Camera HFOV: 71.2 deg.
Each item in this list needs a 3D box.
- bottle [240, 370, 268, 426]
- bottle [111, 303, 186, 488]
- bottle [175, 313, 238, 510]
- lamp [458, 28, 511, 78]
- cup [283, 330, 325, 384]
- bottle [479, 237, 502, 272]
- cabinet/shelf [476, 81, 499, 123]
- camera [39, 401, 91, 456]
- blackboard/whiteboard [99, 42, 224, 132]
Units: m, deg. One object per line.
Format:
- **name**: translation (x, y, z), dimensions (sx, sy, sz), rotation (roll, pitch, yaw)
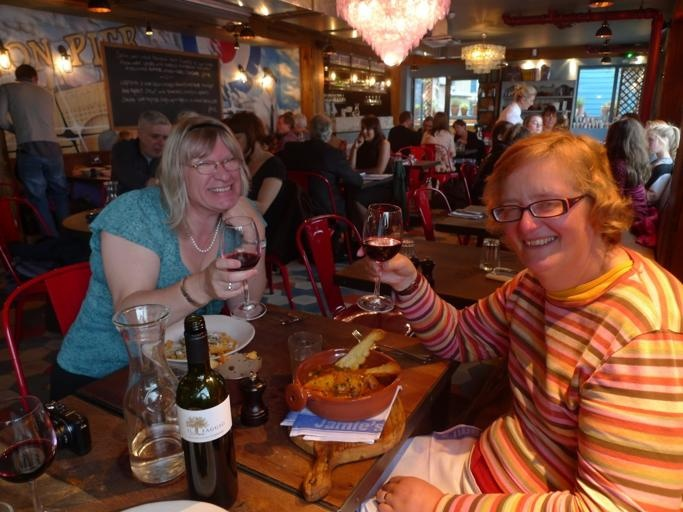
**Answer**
- **bottle**: translation (-0.230, 0.373, 1.238), dimensions (0.062, 0.121, 0.061), rotation (0, 16, 0)
- **bottle**: translation (-0.430, 0.322, 1.073), dimensions (0.118, 0.368, 0.115), rotation (0, 16, 0)
- **bottle**: translation (-0.284, 0.319, 0.982), dimensions (0.109, 0.435, 0.074), rotation (-5, 17, -15)
- **lamp**: translation (2.767, -3.869, 9.316), dimensions (0.883, 0.703, 0.882), rotation (1, 17, 0)
- **cup**: translation (-0.119, 0.314, 1.451), dimensions (0.141, 0.162, 0.149), rotation (-3, 12, 1)
- **bottle**: translation (0.740, -0.009, 2.365), dimensions (0.110, 0.160, 0.111), rotation (-1, 16, 0)
- **cabinet/shelf**: translation (3.842, -3.878, 12.512), dimensions (0.266, 1.193, 0.531), rotation (-9, 13, 4)
- **camera**: translation (-0.695, 0.423, 1.165), dimensions (0.138, 0.087, 0.091), rotation (12, 13, 27)
- **blackboard/whiteboard**: translation (-2.736, -2.576, 7.333), dimensions (1.991, 1.090, 0.047), rotation (6, 18, 12)
